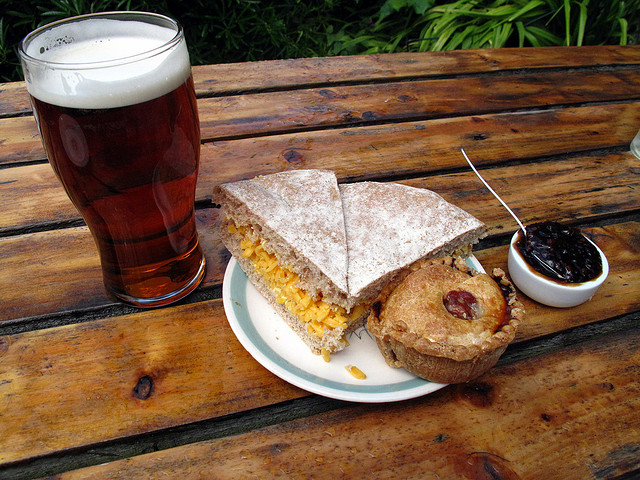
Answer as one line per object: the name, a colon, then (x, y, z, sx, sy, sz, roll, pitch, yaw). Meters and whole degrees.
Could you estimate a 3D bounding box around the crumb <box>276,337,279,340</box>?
crumb: (-0.153, 0.357, 1.793, 0.012, 0.012, 0.003, 1, 85, 0)

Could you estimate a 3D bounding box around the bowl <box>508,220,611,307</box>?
bowl: (0.903, 0.096, 1.911, 0.414, 0.166, 0.331, 6, 41, 8)

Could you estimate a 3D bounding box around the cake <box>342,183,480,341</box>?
cake: (0.158, 0.029, 2.182, 0.933, 0.486, 0.557, -5, 20, -22)

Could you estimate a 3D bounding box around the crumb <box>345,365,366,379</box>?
crumb: (0.122, 0.455, 1.706, 0.038, 0.009, 0.053, -7, 19, -22)

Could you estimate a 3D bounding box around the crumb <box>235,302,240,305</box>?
crumb: (-0.302, 0.235, 1.824, 0.010, 0.003, 0.011, 5, 28, -27)

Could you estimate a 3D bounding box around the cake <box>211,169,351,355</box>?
cake: (-0.110, 0.066, 1.983, 0.835, 0.276, 0.613, 11, 52, -4)
